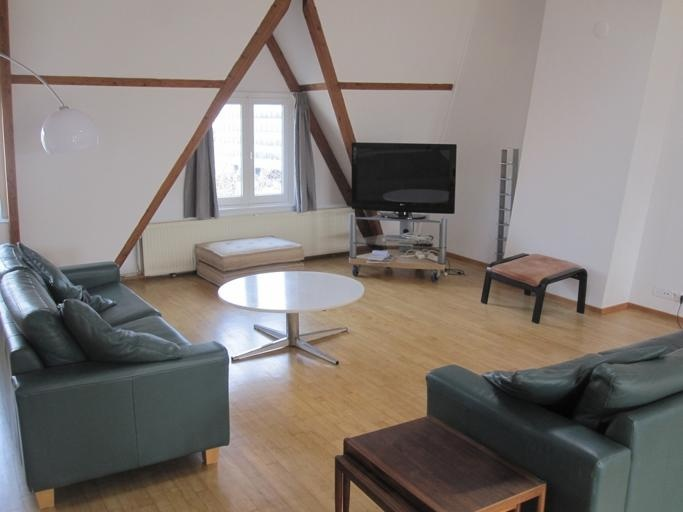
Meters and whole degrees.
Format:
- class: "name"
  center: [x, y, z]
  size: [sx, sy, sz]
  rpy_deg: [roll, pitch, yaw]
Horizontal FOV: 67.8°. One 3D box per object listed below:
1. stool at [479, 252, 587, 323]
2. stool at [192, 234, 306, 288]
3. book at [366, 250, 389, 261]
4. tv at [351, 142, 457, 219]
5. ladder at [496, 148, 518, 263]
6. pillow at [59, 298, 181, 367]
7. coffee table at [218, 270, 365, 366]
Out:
- class: "stool"
  center: [2.207, 0.315, 5.791]
  size: [0.915, 0.568, 0.935]
  rpy_deg: [-10, 17, -34]
- class: "stool"
  center: [-1.301, -0.060, 6.775]
  size: [0.997, 0.430, 0.728]
  rpy_deg: [-9, 23, -28]
- class: "book"
  center: [0.524, -0.014, 7.080]
  size: [0.183, 0.069, 0.185]
  rpy_deg: [2, 25, 22]
- class: "tv"
  center: [0.844, -1.052, 6.838]
  size: [1.063, 0.711, 0.110]
  rpy_deg: [3, 9, 12]
- class: "ladder"
  center: [2.194, -0.662, 6.713]
  size: [0.240, 1.503, 0.595]
  rpy_deg: [4, 15, 16]
- class: "pillow"
  center: [-1.292, 0.470, 2.910]
  size: [0.463, 0.179, 0.454]
  rpy_deg: [6, 2, -26]
- class: "coffee table"
  center: [-0.457, 0.573, 4.727]
  size: [1.284, 0.618, 1.125]
  rpy_deg: [-4, 14, -13]
